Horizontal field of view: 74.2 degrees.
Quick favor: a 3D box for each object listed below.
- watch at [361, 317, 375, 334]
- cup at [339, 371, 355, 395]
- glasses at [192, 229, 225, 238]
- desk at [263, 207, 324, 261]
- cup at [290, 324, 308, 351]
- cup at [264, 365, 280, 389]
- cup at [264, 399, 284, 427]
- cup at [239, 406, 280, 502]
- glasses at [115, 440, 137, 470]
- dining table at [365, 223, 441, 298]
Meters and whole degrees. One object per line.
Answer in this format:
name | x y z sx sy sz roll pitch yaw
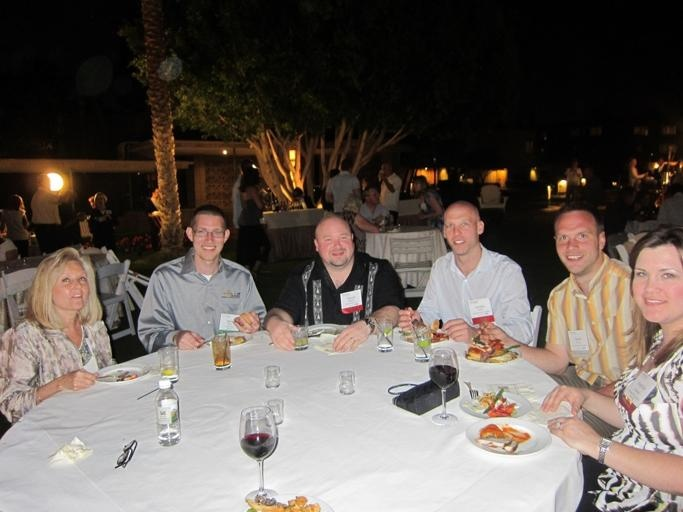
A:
watch | 0.184 0.474 3.075 0.072 0.094 0.092 -7 40 -2
cup | 0.029 0.634 2.247 0.102 0.105 0.102 0 -6 0
glasses | -1.017 -0.176 3.487 0.219 0.069 0.067 -4 6 -21
desk | -1.241 -0.474 11.346 1.433 0.860 1.358 -3 14 -7
cup | -0.261 0.527 2.871 0.138 0.146 0.134 0 -5 0
cup | -0.353 0.628 2.343 0.104 0.108 0.100 -2 1 0
cup | -0.285 0.693 2.002 0.097 0.130 0.140 -3 -5 -8
cup | -0.286 0.695 1.587 0.127 0.265 0.254 -4 6 -14
glasses | -0.856 0.789 1.794 0.047 0.023 0.061 -10 29 31
dining table | 1.069 0.099 7.448 1.136 1.081 1.200 -2 -1 -2
